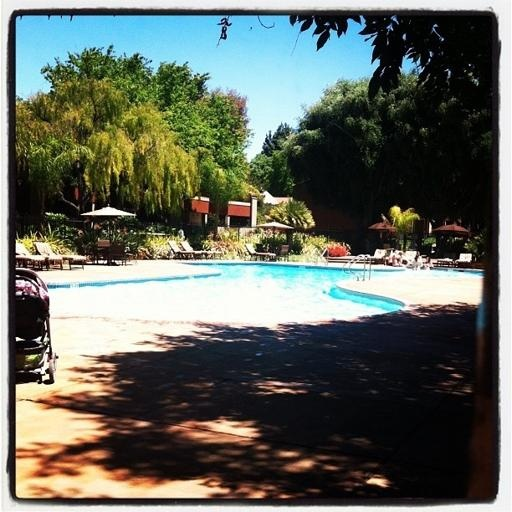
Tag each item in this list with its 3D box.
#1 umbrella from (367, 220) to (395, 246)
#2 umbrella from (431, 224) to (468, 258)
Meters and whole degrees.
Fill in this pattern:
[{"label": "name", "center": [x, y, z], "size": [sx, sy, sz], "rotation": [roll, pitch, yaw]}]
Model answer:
[{"label": "umbrella", "center": [8.622, -1.630, 36.668], "size": [1.510, 1.552, 1.758], "rotation": [-2, 1, 6]}, {"label": "umbrella", "center": [12.033, -0.972, 33.784], "size": [1.827, 2.321, 2.234], "rotation": [2, 2, 15]}]
